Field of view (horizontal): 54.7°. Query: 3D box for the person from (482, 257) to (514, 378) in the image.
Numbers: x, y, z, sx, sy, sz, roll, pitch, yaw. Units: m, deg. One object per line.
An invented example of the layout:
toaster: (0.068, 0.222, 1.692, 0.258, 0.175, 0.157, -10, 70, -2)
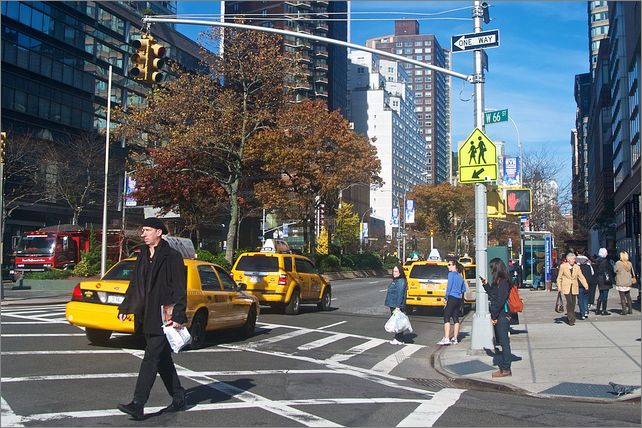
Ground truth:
person: (4.398, 2.545, 15.294, 0.561, 2.902, 0.366, -1, -6, 16)

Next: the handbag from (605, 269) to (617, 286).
handbag: (11.611, 2.538, 25.070, 0.301, 0.683, 0.728, -17, -15, 38)

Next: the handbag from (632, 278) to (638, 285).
handbag: (12.040, 2.591, 23.918, 0.233, 0.325, 0.132, 7, -3, 18)

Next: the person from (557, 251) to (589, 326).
person: (9.005, 2.693, 22.519, 0.911, 2.591, 1.598, -4, -7, 34)

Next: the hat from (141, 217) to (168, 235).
hat: (-3.279, 0.215, 12.361, 0.438, 0.166, 0.309, 23, -13, -23)

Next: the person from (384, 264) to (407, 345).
person: (2.336, 2.839, 19.291, 0.639, 2.424, 0.717, -1, -6, 7)

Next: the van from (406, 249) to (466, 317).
van: (4.494, 2.835, 25.905, 1.610, 1.481, 2.781, 0, 3, 17)

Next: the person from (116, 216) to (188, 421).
person: (-3.225, 2.051, 12.240, 1.086, 3.881, 0.499, 1, -6, -12)

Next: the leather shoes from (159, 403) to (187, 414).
leather shoes: (-2.967, 3.834, 12.367, 0.555, 0.238, 0.191, 2, -2, 0)

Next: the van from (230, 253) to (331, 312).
van: (-1.440, 2.699, 25.727, 2.019, 1.636, 3.965, -1, -2, 29)

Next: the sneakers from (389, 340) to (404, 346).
sneakers: (2.319, 3.963, 19.122, 0.425, 0.202, 0.153, 6, 0, 2)

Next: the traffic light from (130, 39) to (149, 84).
traffic light: (-5.289, -4.526, 18.107, 0.486, 1.190, 0.674, 2, -6, -19)

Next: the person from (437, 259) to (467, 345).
person: (4.124, 2.818, 19.690, 0.803, 2.618, 1.492, -1, -6, 12)

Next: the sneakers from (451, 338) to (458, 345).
sneakers: (4.139, 3.946, 19.317, 0.209, 0.197, 0.402, -1, -6, 12)

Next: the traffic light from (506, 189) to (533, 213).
traffic light: (7.055, -0.501, 22.442, 0.510, 1.080, 2.534, -3, -7, 31)

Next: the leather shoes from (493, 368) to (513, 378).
leather shoes: (4.407, 3.892, 15.217, 0.525, 0.205, 0.195, 1, -6, 7)

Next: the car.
car: (-3.923, 2.457, 18.215, 2.461, 1.715, 5.293, -1, -1, 25)

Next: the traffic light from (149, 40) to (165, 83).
traffic light: (-4.823, -4.428, 18.207, 0.414, 1.335, 0.700, 2, -6, -13)
